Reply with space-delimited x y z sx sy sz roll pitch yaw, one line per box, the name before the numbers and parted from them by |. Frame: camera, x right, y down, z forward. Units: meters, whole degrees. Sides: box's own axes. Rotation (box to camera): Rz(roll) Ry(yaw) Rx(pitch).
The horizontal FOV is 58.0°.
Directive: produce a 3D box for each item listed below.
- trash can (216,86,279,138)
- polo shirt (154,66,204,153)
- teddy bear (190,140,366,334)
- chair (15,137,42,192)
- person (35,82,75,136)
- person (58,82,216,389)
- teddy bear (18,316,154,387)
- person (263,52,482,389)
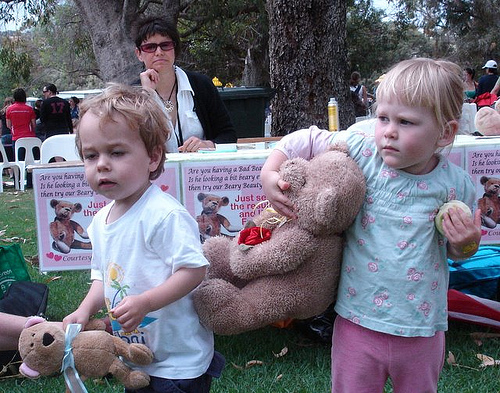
trash can | -0.056 -1.373 7.013 0.871 1.029 0.616 -3 13 -20
polo shirt | -0.526 -0.593 3.428 0.372 0.748 0.397 -10 21 -44
teddy bear | 0.097 0.150 1.921 0.621 0.786 0.528 -2 27 -21
chair | -4.878 -0.726 9.826 0.828 1.131 0.554 5 10 39
person | -4.725 -2.075 10.777 0.831 1.376 0.886 -4 24 -22
person | -0.457 0.160 1.786 0.572 1.237 0.736 -5 9 -19
teddy bear | -0.571 0.509 1.565 0.373 0.183 0.265 15 24 4
person | 0.500 0.103 1.758 0.714 1.261 0.462 3 9 29
